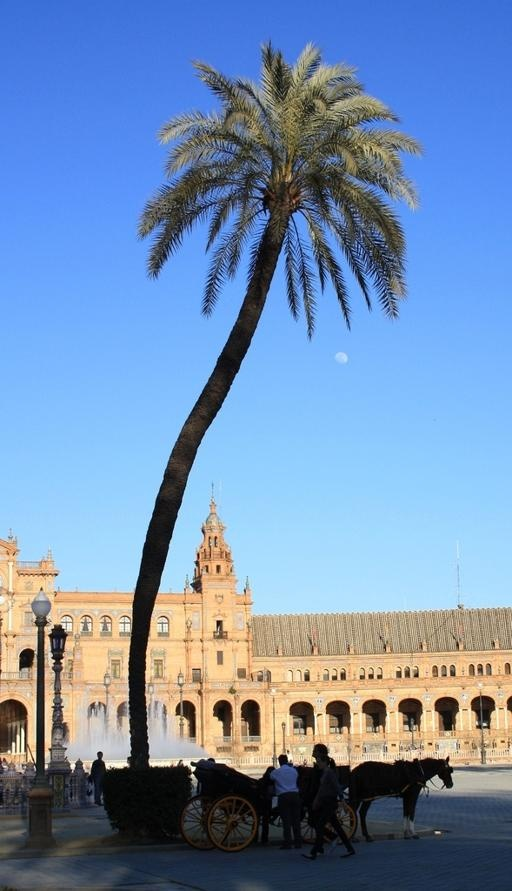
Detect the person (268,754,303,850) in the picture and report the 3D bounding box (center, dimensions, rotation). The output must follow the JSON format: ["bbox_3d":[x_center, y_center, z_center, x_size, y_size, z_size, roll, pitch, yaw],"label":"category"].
[{"bbox_3d":[0.400,4.799,14.290,0.357,1.050,0.709,-3,-15,0],"label":"person"}]

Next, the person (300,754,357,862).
[{"bbox_3d":[0.891,4.457,13.540,0.589,1.308,1.902,-4,-15,4],"label":"person"}]
